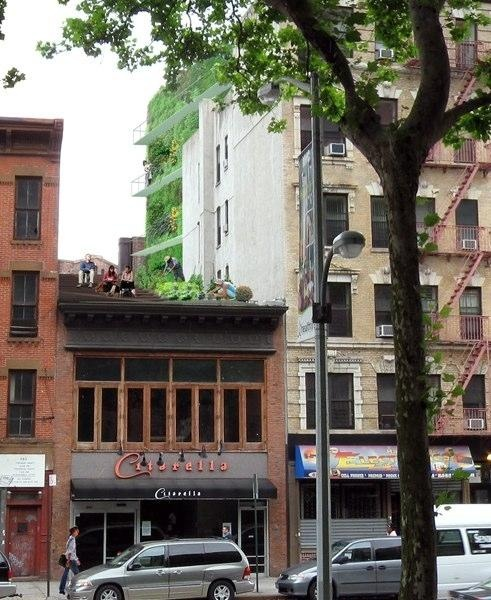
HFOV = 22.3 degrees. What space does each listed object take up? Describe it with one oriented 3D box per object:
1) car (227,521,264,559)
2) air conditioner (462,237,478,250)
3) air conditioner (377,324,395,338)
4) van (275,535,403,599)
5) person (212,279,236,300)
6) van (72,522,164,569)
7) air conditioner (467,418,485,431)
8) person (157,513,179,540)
[{"bbox_3d":[-0.203,6.973,35.985,1.604,0.899,0.961,6,-9,-9],"label":"car"},{"bbox_3d":[7.197,-1.721,39.802,0.600,0.519,0.319,-1,-15,-16],"label":"air conditioner"},{"bbox_3d":[4.024,0.951,35.650,0.686,0.440,0.517,1,-8,-2],"label":"air conditioner"},{"bbox_3d":[2.298,6.392,29.793,3.000,1.280,1.487,3,-11,-8],"label":"van"},{"bbox_3d":[-0.811,-0.245,42.196,0.878,0.779,0.468,2,9,34],"label":"person"},{"bbox_3d":[-3.685,6.944,35.803,2.501,1.402,0.927,-1,-11,-15],"label":"van"},{"bbox_3d":[7.155,3.882,38.438,0.643,0.420,0.276,2,-15,-24],"label":"air conditioner"},{"bbox_3d":[-2.159,6.547,35.810,0.584,0.981,0.524,-2,-11,12],"label":"person"}]
